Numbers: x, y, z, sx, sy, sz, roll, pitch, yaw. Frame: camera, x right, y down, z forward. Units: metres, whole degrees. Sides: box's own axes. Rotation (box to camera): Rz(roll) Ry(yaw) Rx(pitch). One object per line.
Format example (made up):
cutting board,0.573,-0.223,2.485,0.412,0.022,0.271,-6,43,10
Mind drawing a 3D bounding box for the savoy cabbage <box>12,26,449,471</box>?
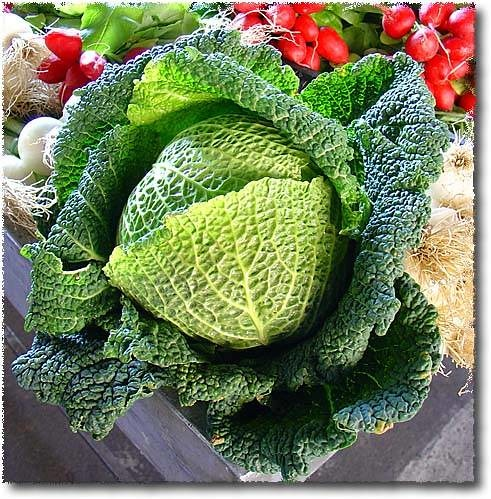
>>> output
savoy cabbage,0.126,-0.007,1.229,1.048,0.404,0.832,5,79,20
